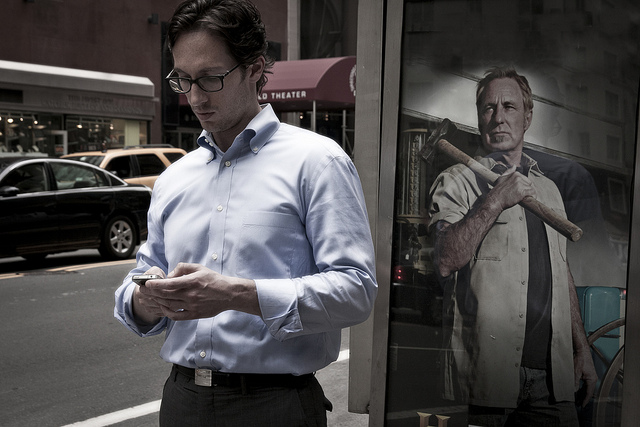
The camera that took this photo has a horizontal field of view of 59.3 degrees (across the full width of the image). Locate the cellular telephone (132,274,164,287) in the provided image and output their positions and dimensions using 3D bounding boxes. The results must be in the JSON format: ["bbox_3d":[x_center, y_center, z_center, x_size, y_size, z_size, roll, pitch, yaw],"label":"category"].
[{"bbox_3d":[-0.643,0.245,2.085,0.140,0.047,0.055,4,7,26],"label":"cellular telephone"}]
